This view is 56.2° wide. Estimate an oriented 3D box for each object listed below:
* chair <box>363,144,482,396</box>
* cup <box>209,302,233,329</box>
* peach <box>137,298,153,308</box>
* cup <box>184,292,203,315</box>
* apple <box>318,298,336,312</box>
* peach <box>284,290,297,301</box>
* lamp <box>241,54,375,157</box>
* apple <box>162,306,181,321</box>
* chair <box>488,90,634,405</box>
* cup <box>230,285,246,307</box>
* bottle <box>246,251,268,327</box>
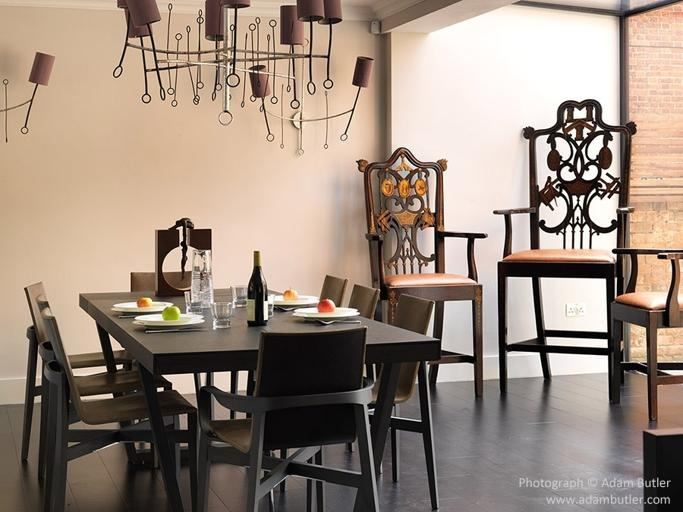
[{"bbox_3d":[0.590,0.108,4.893,0.868,1.960,0.842,-3,1,-32],"label":"chair"},{"bbox_3d":[-0.511,0.247,2.691,0.089,0.116,0.094,1,3,0],"label":"cup"},{"bbox_3d":[-0.945,0.215,3.076,0.052,0.058,0.054,-1,0,-25],"label":"peach"},{"bbox_3d":[-0.709,0.227,3.066,0.087,0.113,0.097,-2,-6,17],"label":"cup"},{"bbox_3d":[-0.063,0.224,2.836,0.053,0.062,0.056,1,10,1],"label":"apple"},{"bbox_3d":[-0.257,0.194,3.236,0.045,0.053,0.048,-6,2,-13],"label":"peach"},{"bbox_3d":[-0.213,-1.045,4.453,0.769,0.720,0.446,0,-5,-1],"label":"lamp"},{"bbox_3d":[-0.711,0.241,2.678,0.058,0.070,0.059,1,1,2],"label":"apple"},{"bbox_3d":[1.810,-0.118,5.245,1.025,2.291,1.401,2,5,26],"label":"chair"},{"bbox_3d":[-0.491,0.194,3.085,0.088,0.100,0.087,3,-2,0],"label":"cup"},{"bbox_3d":[-0.362,0.130,2.761,0.090,0.318,0.302,-1,5,-6],"label":"bottle"}]
